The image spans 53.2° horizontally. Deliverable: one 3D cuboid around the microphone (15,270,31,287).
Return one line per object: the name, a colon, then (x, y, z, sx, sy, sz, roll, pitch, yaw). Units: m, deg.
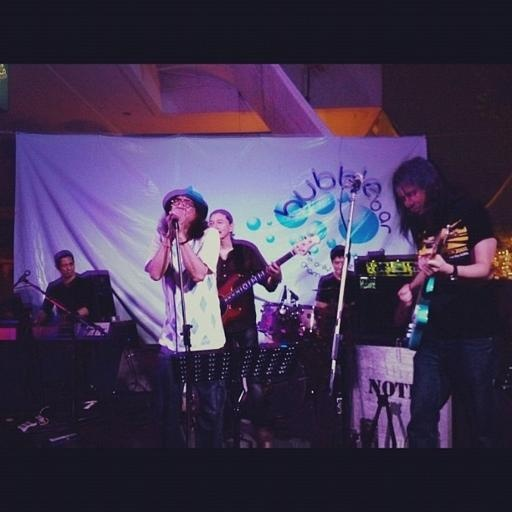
microphone: (-1.593, 0.159, 3.489, 0.107, 0.118, 0.023, -1, -5, 11)

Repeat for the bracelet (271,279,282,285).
bracelet: (0.132, 0.176, 3.437, 0.074, 0.037, 0.016, 1, -5, -12)

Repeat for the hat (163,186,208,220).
hat: (-0.472, -0.378, 3.460, 0.185, 0.236, 0.057, 6, 31, 17)

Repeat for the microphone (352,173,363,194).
microphone: (0.686, -0.487, 3.449, 0.065, 0.135, 0.037, 8, 9, -1)

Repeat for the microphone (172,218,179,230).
microphone: (-0.543, -0.209, 3.467, 0.035, 0.061, 0.014, -13, 3, -3)
